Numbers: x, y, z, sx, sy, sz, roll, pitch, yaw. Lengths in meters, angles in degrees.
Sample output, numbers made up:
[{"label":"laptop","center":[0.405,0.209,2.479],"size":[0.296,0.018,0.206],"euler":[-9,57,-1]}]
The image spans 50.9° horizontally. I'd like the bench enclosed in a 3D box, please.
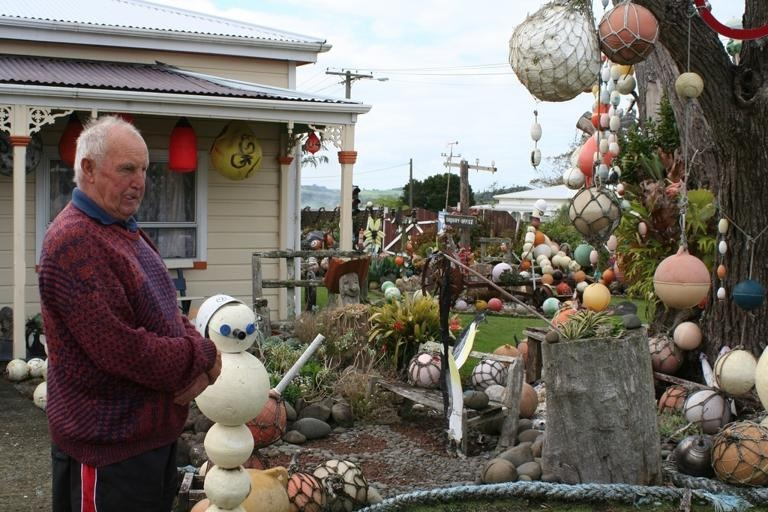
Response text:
[{"label":"bench","center":[0.878,1.601,9.136],"size":[0.719,1.132,1.811],"euler":[2,-3,-13]}]
